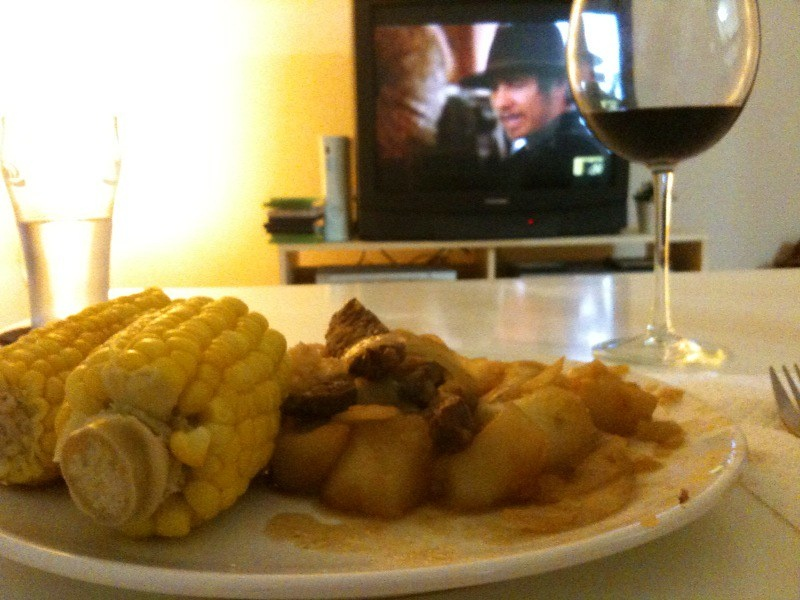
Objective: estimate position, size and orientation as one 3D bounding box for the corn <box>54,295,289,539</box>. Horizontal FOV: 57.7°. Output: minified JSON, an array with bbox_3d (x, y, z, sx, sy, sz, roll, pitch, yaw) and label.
[{"bbox_3d":[-0.120,0.050,0.385,0.106,0.090,0.182,6,16,2],"label":"corn"}]

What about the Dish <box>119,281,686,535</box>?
[{"bbox_3d":[0.034,0.029,0.350,0.181,0.054,0.131,4,15,17],"label":"Dish"}]
